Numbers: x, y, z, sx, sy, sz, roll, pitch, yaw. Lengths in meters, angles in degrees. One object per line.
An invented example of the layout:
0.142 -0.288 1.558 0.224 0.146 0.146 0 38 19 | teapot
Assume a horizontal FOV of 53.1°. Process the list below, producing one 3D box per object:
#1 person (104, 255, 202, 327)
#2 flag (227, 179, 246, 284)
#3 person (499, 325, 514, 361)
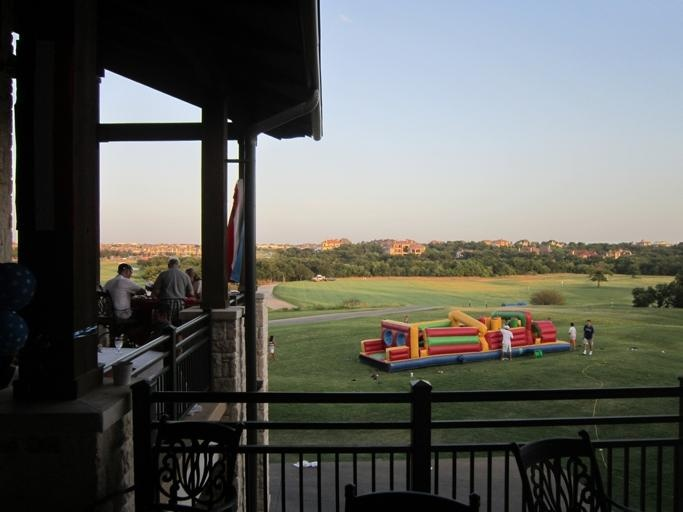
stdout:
-2.927 0.508 10.920 1.474 0.931 0.858 -1 4 2 | person
-1.650 -0.414 10.681 0.248 1.334 0.634 0 0 -8 | flag
6.939 3.597 28.673 0.476 1.410 1.735 1 1 14 | person
